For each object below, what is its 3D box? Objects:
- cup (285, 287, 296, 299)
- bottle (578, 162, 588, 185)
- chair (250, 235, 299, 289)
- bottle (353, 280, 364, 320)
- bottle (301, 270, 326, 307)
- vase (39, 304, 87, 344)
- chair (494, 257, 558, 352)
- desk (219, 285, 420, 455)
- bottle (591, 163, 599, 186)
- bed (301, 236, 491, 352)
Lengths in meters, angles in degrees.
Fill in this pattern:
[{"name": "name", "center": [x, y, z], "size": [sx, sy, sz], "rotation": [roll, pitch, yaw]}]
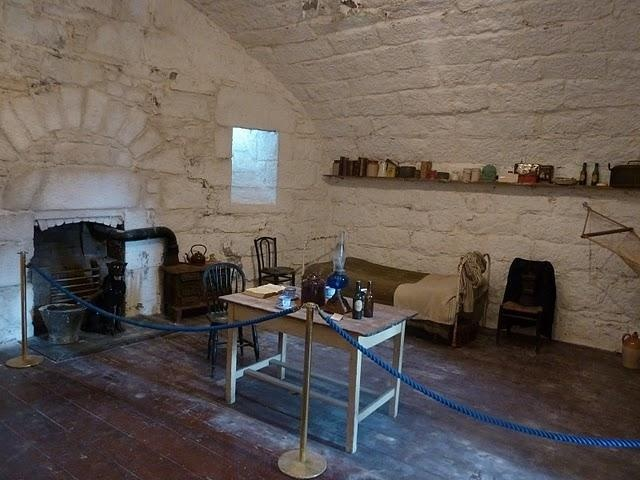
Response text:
[{"name": "cup", "center": [-0.265, 0.499, 4.117], "size": [0.086, 0.074, 0.083], "rotation": [0, 14, 0]}, {"name": "bottle", "center": [3.300, -0.832, 5.553], "size": [0.112, 0.287, 0.134], "rotation": [12, 15, 27]}, {"name": "chair", "center": [-0.698, 0.443, 6.969], "size": [0.618, 0.857, 0.531], "rotation": [11, 16, 28]}, {"name": "bottle", "center": [0.332, 0.472, 3.750], "size": [0.100, 0.311, 0.326], "rotation": [6, 12, 6]}, {"name": "bottle", "center": [-0.060, 0.419, 3.848], "size": [0.207, 0.266, 0.242], "rotation": [4, 12, -2]}, {"name": "vase", "center": [-2.923, 0.931, 5.180], "size": [0.538, 0.324, 0.475], "rotation": [5, 8, -2]}, {"name": "chair", "center": [2.670, 0.811, 5.650], "size": [0.649, 1.057, 0.877], "rotation": [11, 15, 27]}, {"name": "desk", "center": [-0.044, 1.035, 3.959], "size": [1.454, 0.985, 0.939], "rotation": [10, 14, 29]}, {"name": "bottle", "center": [3.404, -0.818, 5.474], "size": [0.104, 0.285, 0.182], "rotation": [12, 15, 28]}, {"name": "bed", "center": [0.974, 0.581, 6.266], "size": [2.279, 0.960, 1.309], "rotation": [9, 16, 29]}]
